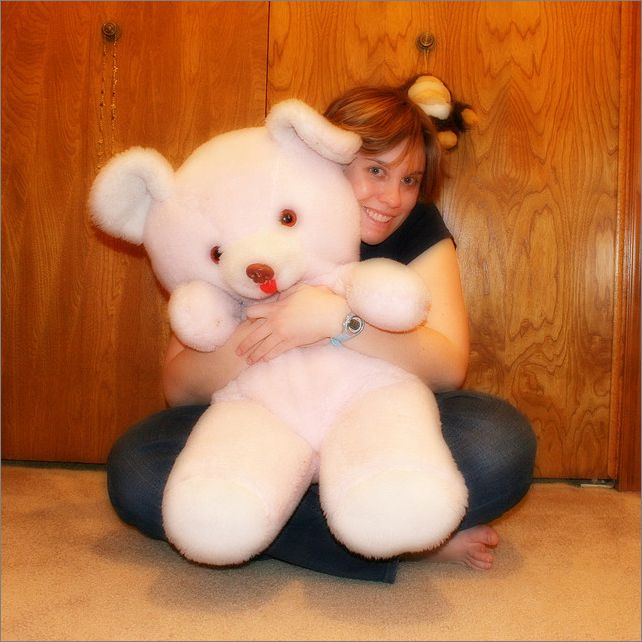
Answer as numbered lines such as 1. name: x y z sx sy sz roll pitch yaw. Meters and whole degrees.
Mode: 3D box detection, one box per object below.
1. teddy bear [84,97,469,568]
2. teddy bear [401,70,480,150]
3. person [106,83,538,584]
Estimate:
1. teddy bear: -0.080 0.021 1.160 0.548 0.341 0.773 -20 63 1
2. teddy bear: 0.294 -0.503 1.736 0.114 0.171 0.254 18 22 36
3. person: -0.101 0.008 1.227 0.718 0.701 0.527 -12 24 6
